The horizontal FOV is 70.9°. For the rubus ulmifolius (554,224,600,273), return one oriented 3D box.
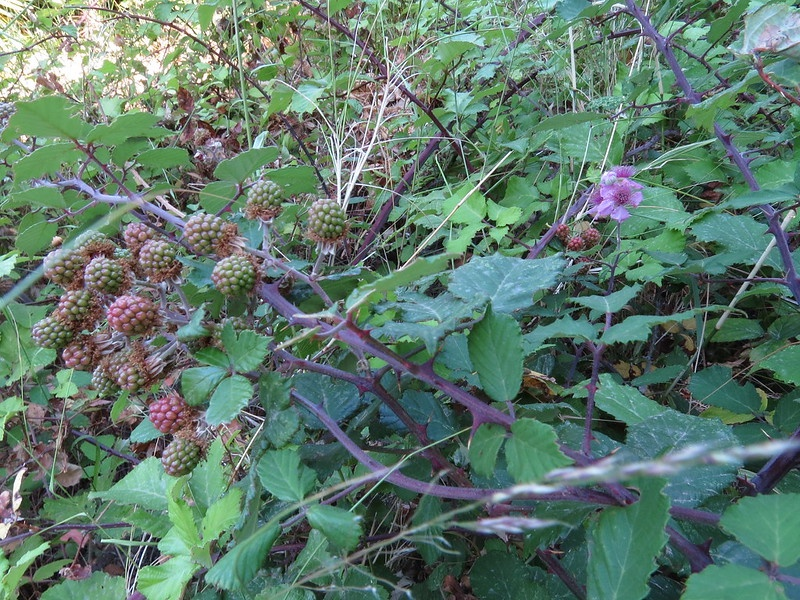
[{"bbox_3d":[0.783,-0.240,2.491,0.184,0.212,0.117,2,14,-2],"label":"rubus ulmifolius"}]
